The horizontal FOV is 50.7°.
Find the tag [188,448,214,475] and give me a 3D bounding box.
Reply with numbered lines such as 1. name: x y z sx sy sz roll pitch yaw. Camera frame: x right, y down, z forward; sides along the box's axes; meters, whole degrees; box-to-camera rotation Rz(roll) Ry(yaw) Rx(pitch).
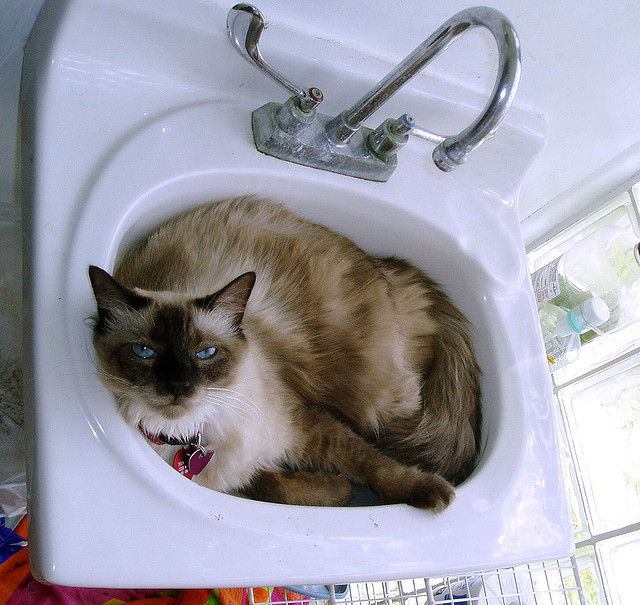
1. tag: -0.176 0.233 0.987 0.007 0.032 0.035 7 11 44

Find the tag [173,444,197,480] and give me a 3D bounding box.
1. tag: -0.188 0.226 0.948 0.033 0.010 0.044 9 74 -41
